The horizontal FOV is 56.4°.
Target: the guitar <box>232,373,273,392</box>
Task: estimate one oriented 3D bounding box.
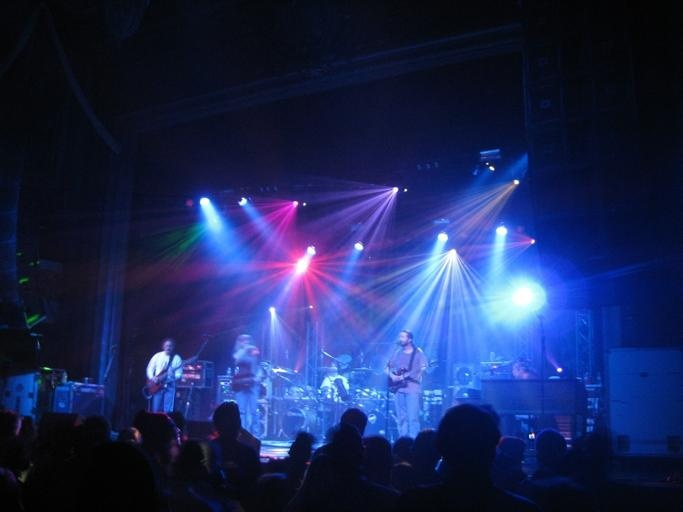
[{"bbox_3d":[-1.995,2.723,13.468,0.634,0.140,0.621,1,-4,12],"label":"guitar"}]

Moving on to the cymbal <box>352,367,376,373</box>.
[{"bbox_3d":[0.479,2.676,14.840,0.496,0.142,0.324,2,-17,1],"label":"cymbal"}]

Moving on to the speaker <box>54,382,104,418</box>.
[{"bbox_3d":[-4.544,2.521,11.339,0.760,0.691,0.450,1,9,-3],"label":"speaker"}]
